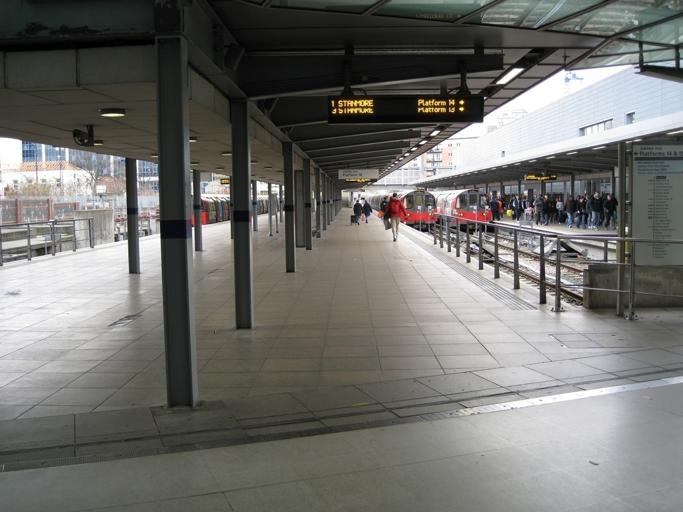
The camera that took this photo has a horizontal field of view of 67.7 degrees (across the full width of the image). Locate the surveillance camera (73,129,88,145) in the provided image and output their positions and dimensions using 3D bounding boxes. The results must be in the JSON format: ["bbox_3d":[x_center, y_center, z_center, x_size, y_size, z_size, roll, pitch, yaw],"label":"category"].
[{"bbox_3d":[-4.803,-2.218,9.480,0.229,0.123,0.292,4,6,-19],"label":"surveillance camera"}]

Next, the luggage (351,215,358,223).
[{"bbox_3d":[1.058,-2.758,38.137,0.556,0.618,0.551,0,-2,6],"label":"luggage"}]

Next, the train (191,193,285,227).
[{"bbox_3d":[-10.416,-4.723,52.748,4.369,3.394,24.443,0,6,10],"label":"train"}]
